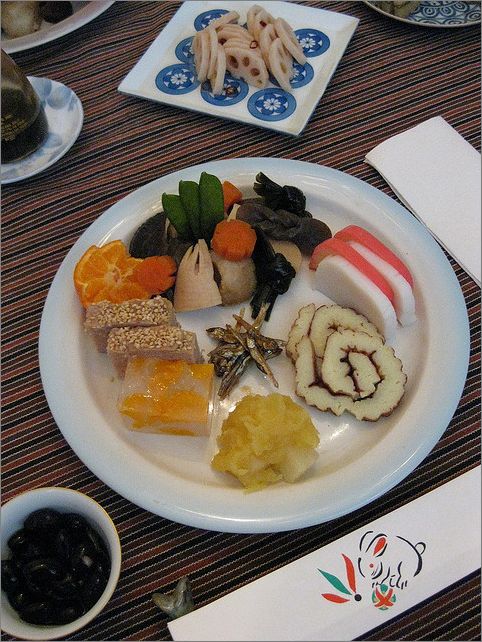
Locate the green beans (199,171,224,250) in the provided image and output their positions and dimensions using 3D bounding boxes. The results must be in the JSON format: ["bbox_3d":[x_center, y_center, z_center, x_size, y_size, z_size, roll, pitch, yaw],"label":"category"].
[{"bbox_3d":[-0.077,-0.296,1.516,0.072,0.051,0.162,-2,95,22],"label":"green beans"}]

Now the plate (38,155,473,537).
[{"bbox_3d":[0.019,0.009,1.447,1.019,0.181,0.983,18,57,12],"label":"plate"}]
